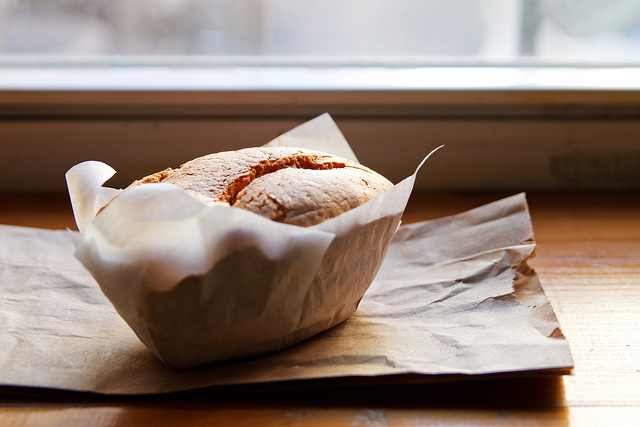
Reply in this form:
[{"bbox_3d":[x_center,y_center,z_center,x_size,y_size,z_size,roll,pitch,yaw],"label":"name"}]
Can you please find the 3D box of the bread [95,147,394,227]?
[{"bbox_3d":[-0.072,-0.048,1.045,0.310,0.083,0.177,1,2,-31],"label":"bread"}]
